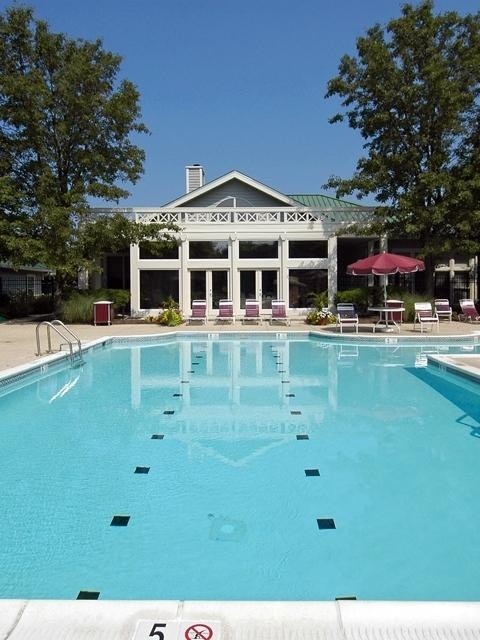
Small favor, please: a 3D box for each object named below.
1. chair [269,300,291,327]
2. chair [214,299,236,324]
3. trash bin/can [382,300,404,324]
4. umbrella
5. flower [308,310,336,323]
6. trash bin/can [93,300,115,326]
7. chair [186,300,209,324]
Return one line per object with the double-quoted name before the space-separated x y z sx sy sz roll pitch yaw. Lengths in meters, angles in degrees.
"chair" 1.513 -0.313 19.864 0.568 0.694 1.019 1 2 -2
"chair" -0.668 -0.314 20.187 0.781 1.141 0.828 1 5 2
"trash bin/can" 5.185 -0.269 17.476 0.741 1.279 0.794 -1 -3 14
"umbrella" 4.807 -0.940 16.812 2.040 2.387 5.411 2 5 20
"flower" 3.123 -0.080 19.552 0.565 0.381 0.638 2 4 24
"trash bin/can" -4.888 -0.268 18.680 0.706 1.075 0.766 1 12 -1
"chair" -1.627 -0.360 20.044 0.517 0.812 1.025 0 1 1
